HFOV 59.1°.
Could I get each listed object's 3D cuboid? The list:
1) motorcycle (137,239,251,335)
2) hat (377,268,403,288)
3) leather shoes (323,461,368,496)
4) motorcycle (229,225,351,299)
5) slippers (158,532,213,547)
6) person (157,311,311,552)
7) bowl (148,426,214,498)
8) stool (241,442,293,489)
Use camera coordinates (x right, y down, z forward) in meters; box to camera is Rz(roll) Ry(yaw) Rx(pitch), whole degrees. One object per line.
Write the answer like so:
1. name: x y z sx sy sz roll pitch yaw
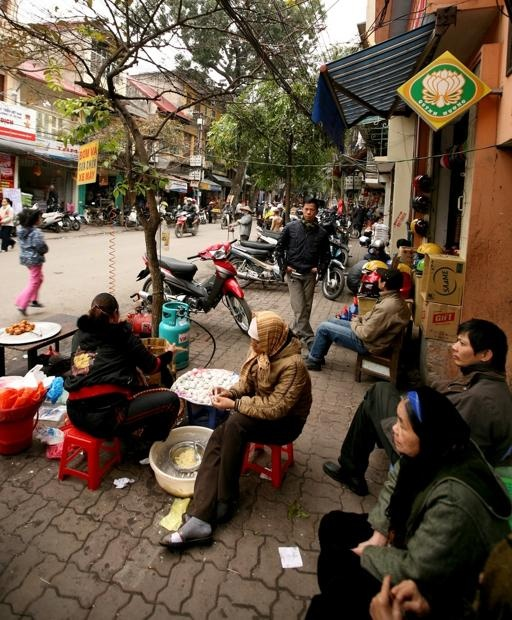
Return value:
1. motorcycle: -0.836 -0.396 6.134 2.130 1.196 0.886 8 15 21
2. hat: 1.291 -0.283 4.317 0.204 0.187 0.263 5 12 17
3. leather shoes: 0.573 1.096 2.932 0.114 0.133 0.325 -15 26 -32
4. motorcycle: 0.680 -0.924 9.249 2.547 1.425 1.178 6 21 7
5. slippers: -0.366 1.181 2.345 0.267 0.066 0.099 4 -4 -13
6. person: -0.110 0.624 2.588 0.548 1.152 0.918 8 14 29
7. bowl: -0.500 0.971 2.915 0.367 0.160 0.392 2 16 -1
8. stool: 0.038 0.994 3.085 0.332 0.232 0.336 4 -8 35
